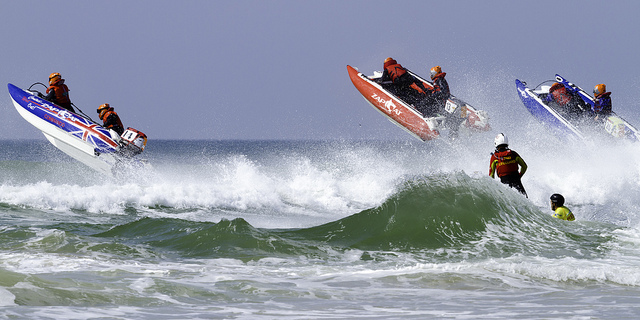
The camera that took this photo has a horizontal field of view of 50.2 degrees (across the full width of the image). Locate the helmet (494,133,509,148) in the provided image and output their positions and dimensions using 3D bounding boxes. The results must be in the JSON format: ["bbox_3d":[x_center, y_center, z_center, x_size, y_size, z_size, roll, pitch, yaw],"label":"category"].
[{"bbox_3d":[5.601,-0.627,21.118,0.364,0.445,0.398,-11,-8,12],"label":"helmet"}]

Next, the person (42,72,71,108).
[{"bbox_3d":[-9.663,-2.558,24.941,0.782,1.157,0.794,-6,-8,-22],"label":"person"}]

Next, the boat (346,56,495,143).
[{"bbox_3d":[3.571,-2.763,27.240,2.532,5.265,1.696,-30,-39,-37],"label":"boat"}]

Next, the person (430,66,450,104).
[{"bbox_3d":[4.546,-2.948,26.314,0.687,1.253,0.999,-10,-8,1],"label":"person"}]

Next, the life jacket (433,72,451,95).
[{"bbox_3d":[4.592,-2.950,26.102,0.549,0.771,0.645,-10,-8,5],"label":"life jacket"}]

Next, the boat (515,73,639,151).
[{"bbox_3d":[9.793,-1.594,26.040,1.571,4.269,1.583,-25,-43,-41],"label":"boat"}]

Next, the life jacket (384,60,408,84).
[{"bbox_3d":[2.917,-3.471,26.270,0.478,0.869,0.825,-2,-10,-44],"label":"life jacket"}]

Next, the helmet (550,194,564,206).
[{"bbox_3d":[7.071,1.186,20.259,0.386,0.358,0.286,-8,-8,-6],"label":"helmet"}]

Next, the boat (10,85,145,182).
[{"bbox_3d":[-8.878,-1.221,25.273,4.295,3.427,0.830,-8,-8,0],"label":"boat"}]
